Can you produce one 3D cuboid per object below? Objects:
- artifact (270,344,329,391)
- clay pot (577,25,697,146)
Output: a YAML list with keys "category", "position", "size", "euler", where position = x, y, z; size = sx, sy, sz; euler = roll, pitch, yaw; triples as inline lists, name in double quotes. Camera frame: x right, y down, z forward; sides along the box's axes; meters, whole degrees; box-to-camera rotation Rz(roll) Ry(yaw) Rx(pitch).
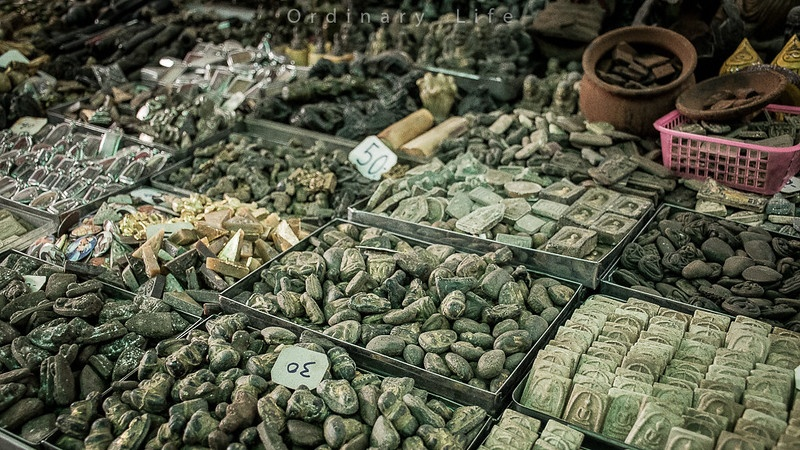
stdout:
- category: "artifact"
  position: [-0.644, 0.907, 3.812]
  size: [0.331, 0.102, 0.264]
  euler: [12, 52, 20]
- category: "clay pot"
  position: [1.893, -1.218, 5.196]
  size: [0.984, 0.684, 1.004]
  euler: [-2, 44, 2]
